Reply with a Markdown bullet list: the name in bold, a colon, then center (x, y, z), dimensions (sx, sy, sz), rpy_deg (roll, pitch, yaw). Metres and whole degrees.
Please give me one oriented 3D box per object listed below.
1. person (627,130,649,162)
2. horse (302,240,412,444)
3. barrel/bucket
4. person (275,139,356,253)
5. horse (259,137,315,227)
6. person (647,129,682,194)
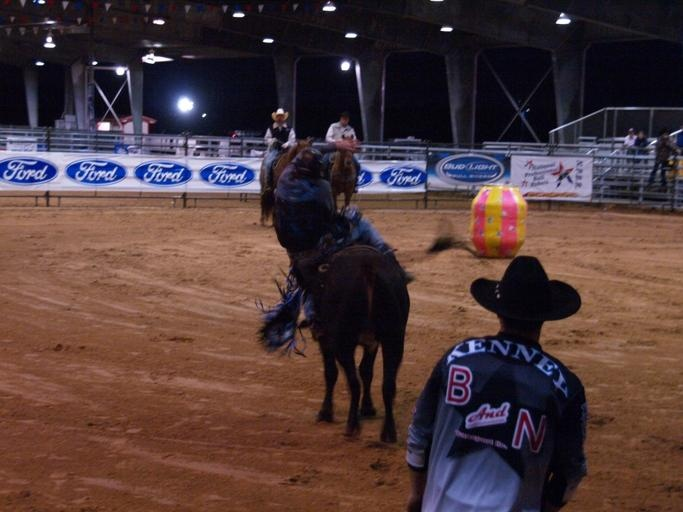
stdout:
- **person**: center (9.376, -3.498, 24.875), dimensions (0.425, 0.885, 1.540), rpy_deg (-10, 6, 13)
- **horse**: center (0.169, 0.872, 7.978), dimensions (0.872, 1.965, 0.988), rpy_deg (-2, 7, -33)
- **barrel/bucket**: center (2.841, -0.623, 14.335), dimensions (0.951, 1.315, 0.555), rpy_deg (2, 6, 7)
- **person**: center (-0.352, -0.556, 7.962), dimensions (0.628, 1.077, 0.244), rpy_deg (1, 6, -2)
- **horse**: center (-0.755, -0.825, 9.700), dimensions (0.413, 0.909, 1.617), rpy_deg (21, -11, -12)
- **person**: center (9.594, -2.843, 23.578), dimensions (0.829, 1.698, 1.195), rpy_deg (4, 6, 22)
